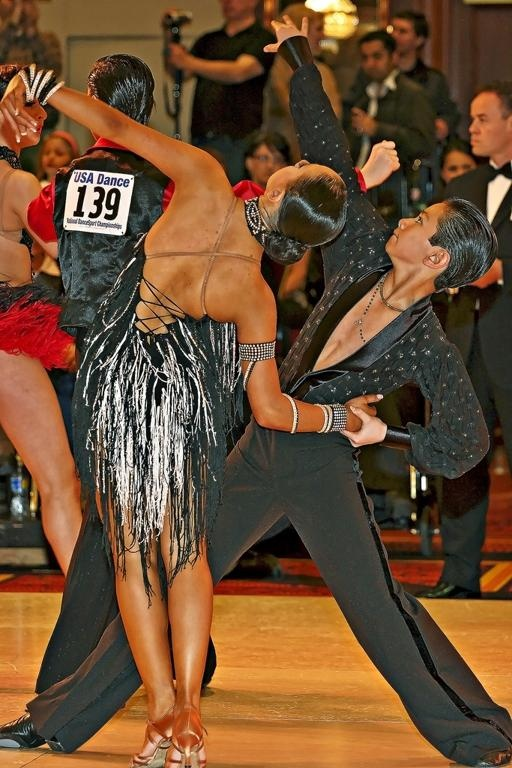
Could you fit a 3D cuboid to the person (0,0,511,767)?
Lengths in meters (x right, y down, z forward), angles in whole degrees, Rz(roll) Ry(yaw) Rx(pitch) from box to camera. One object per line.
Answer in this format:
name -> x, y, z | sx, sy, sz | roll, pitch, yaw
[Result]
person -> 0.100, -0.053, 1.700 | 0.862, 1.645, 0.361 | 0, -4, 14
